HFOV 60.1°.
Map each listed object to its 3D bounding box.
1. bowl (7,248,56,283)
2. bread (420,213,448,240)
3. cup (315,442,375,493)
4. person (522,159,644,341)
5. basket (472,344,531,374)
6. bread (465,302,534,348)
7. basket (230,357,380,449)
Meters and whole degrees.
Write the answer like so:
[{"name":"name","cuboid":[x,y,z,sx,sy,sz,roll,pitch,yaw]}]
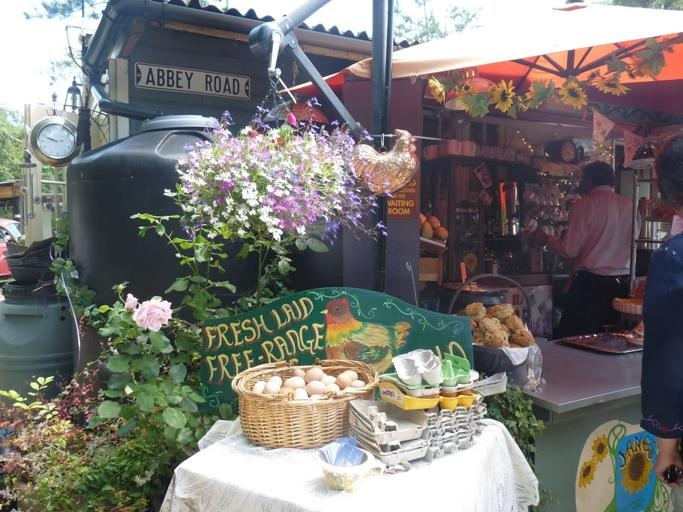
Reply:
[{"name":"bowl","cuboid":[-2.698,0.125,5.119,0.343,0.187,0.342,-1,-4,0]},{"name":"bread","cuboid":[1.076,-0.325,6.856,0.290,0.361,0.679,2,12,11]},{"name":"cup","cuboid":[0.008,1.003,2.903,0.196,0.116,0.204,3,0,0]},{"name":"person","cuboid":[2.975,-0.007,7.091,0.889,2.195,0.544,4,12,20]},{"name":"basket","cuboid":[1.034,0.672,3.909,0.239,0.116,0.246,0,-2,-10]},{"name":"bread","cuboid":[1.084,0.461,4.076,0.416,0.223,0.441,0,12,-3]},{"name":"basket","cuboid":[-0.234,0.753,3.245,0.718,0.419,0.745,1,2,30]}]
